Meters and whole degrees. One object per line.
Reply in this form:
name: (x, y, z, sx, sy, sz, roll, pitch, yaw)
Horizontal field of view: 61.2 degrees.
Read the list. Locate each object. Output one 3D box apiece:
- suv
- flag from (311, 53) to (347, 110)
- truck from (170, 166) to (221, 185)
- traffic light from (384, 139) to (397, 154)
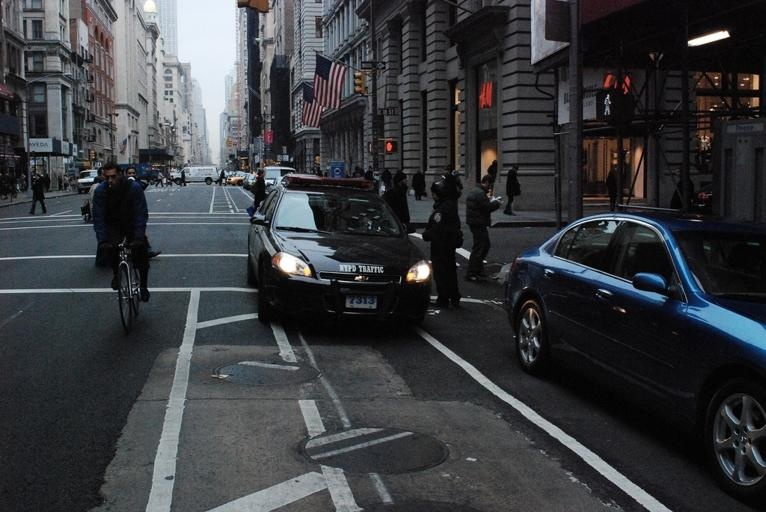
suv: (-0.919, -0.279, 10.344, 1.588, 1.367, 3.672, 2, 7, -12)
flag: (-3.138, -9.912, 36.793, 1.619, 3.025, 2.248, -2, 11, -5)
truck: (-30.944, -13.397, 106.244, 6.679, 2.826, 3.462, 1, 4, -7)
traffic light: (0.359, -5.488, 32.563, 0.585, 0.724, 1.859, -1, 12, -2)
